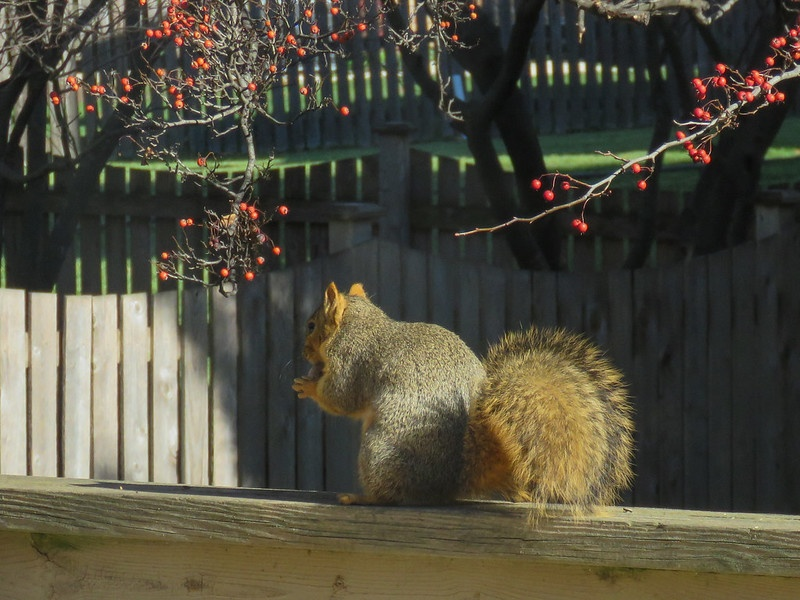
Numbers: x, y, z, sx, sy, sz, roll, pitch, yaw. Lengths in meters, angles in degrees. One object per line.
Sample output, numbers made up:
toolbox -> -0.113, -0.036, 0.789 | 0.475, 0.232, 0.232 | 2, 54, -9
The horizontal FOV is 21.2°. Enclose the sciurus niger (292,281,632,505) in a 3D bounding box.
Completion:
sciurus niger -> 0.346, 0.502, 11.017 | 1.694, 1.140, 0.671 | 2, -2, 4
